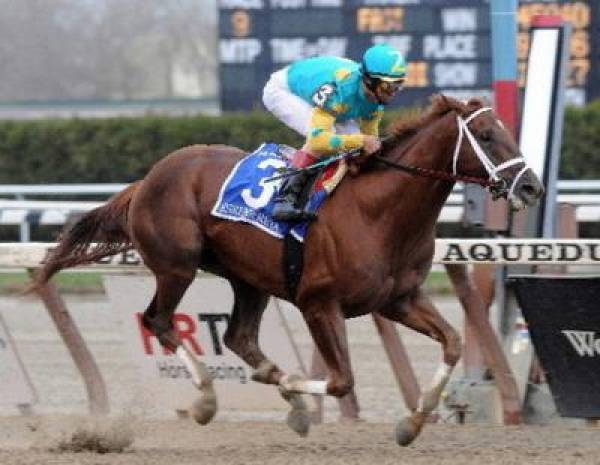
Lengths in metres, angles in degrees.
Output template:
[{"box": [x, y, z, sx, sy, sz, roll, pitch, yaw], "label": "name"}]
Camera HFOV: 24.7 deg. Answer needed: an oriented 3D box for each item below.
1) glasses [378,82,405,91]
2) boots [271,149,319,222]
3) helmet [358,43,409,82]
[{"box": [0.544, -0.871, 8.056, 0.091, 0.070, 0.160, 12, 21, 42], "label": "glasses"}, {"box": [-0.041, -0.272, 8.097, 0.281, 0.383, 0.293, -3, 17, 0], "label": "boots"}, {"box": [0.496, -1.019, 8.064, 0.277, 0.150, 0.323, -2, 24, -13], "label": "helmet"}]
